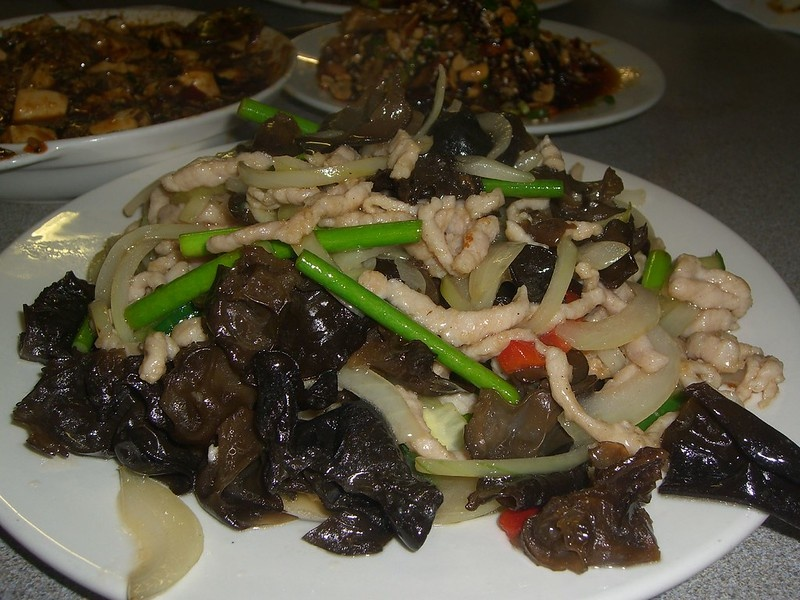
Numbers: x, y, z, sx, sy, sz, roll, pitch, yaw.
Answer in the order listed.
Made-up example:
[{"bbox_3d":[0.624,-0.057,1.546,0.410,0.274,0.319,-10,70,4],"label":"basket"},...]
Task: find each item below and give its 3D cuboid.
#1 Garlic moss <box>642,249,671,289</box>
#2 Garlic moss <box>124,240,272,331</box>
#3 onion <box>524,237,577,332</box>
[{"bbox_3d":[1.077,-0.120,3.337,0.102,0.065,0.196,16,62,19],"label":"Garlic moss"},{"bbox_3d":[-0.878,-0.005,3.081,0.472,0.094,0.105,-23,59,21],"label":"Garlic moss"},{"bbox_3d":[0.551,-0.066,3.029,0.088,0.302,0.236,14,39,3],"label":"onion"}]
